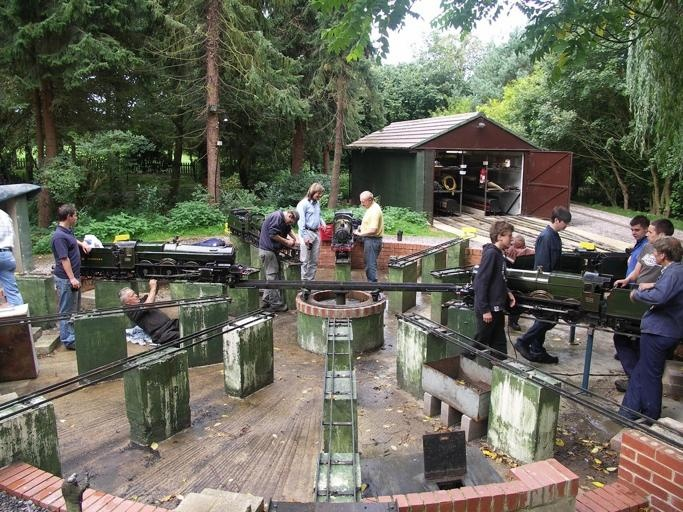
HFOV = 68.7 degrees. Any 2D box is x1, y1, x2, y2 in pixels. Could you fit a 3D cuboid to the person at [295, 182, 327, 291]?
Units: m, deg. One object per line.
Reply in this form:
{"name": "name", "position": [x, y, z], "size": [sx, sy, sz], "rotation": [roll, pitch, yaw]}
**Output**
{"name": "person", "position": [-0.673, -0.483, 10.563], "size": [0.569, 2.082, 0.536], "rotation": [-3, 12, -16]}

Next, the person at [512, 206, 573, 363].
{"name": "person", "position": [3.095, 0.474, 7.718], "size": [0.644, 2.427, 0.859], "rotation": [7, 13, 27]}

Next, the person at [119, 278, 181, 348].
{"name": "person", "position": [-2.958, 0.909, 7.699], "size": [0.739, 0.935, 1.071], "rotation": [-8, 15, -34]}

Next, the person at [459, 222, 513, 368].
{"name": "person", "position": [2.011, 0.491, 6.711], "size": [0.599, 1.866, 0.780], "rotation": [5, 13, 21]}

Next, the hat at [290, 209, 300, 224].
{"name": "hat", "position": [-0.924, -0.798, 9.841], "size": [0.184, 0.235, 0.212], "rotation": [9, 4, -40]}

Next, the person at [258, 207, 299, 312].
{"name": "person", "position": [-1.302, 0.099, 10.283], "size": [0.756, 2.205, 0.998], "rotation": [-1, 12, -9]}

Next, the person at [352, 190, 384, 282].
{"name": "person", "position": [0.583, -0.420, 10.751], "size": [0.529, 1.964, 0.697], "rotation": [3, 12, 14]}

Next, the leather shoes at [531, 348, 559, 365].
{"name": "leather shoes", "position": [3.199, 1.581, 7.875], "size": [0.506, 0.222, 0.179], "rotation": [1, 5, -7]}
